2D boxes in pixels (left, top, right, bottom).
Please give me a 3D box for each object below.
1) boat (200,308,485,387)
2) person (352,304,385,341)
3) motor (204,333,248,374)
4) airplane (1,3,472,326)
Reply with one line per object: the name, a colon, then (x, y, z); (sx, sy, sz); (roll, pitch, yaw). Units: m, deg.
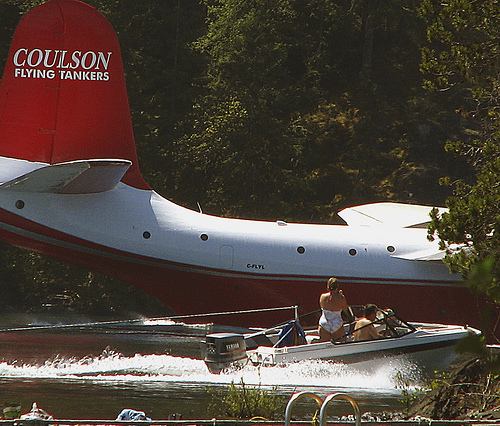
boat: (1.834, 3.337, 26.917); (7.696, 1.776, 2.232); (1, -2, -9)
person: (2.912, 2.634, 26.627); (0.849, 0.911, 0.796); (-2, -4, -37)
motor: (-0.550, 3.268, 26.005); (1.022, 0.899, 0.439); (-1, 8, -3)
airplane: (-0.985, -0.120, 30.991); (12.319, 4.218, 9.138); (9, 4, -15)
